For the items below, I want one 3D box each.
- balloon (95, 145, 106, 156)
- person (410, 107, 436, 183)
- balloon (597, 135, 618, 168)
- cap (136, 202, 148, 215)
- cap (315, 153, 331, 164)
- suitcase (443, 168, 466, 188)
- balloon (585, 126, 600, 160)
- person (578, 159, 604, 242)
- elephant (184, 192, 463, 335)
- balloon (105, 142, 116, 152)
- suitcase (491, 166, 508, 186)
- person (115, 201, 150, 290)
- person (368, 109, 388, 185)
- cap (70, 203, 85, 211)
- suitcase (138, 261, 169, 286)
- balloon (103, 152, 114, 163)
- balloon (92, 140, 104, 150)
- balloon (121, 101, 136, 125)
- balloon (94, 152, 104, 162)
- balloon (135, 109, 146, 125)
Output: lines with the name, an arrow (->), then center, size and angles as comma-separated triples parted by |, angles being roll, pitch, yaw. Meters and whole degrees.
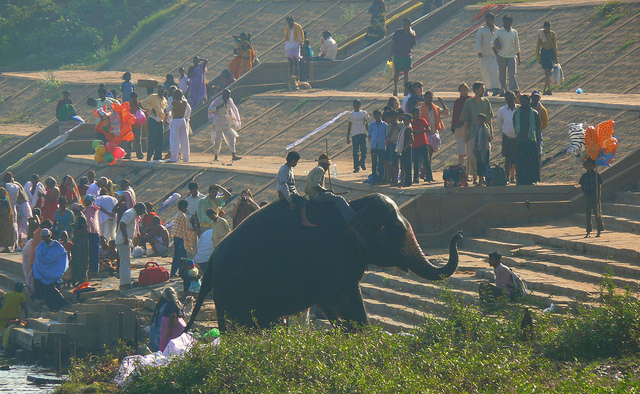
balloon -> -8.241, -1.799, 63.523 | 0.341, 0.330, 0.379 | 3, 34, -6
person -> 3.502, -1.748, 57.246 | 0.740, 2.566, 0.543 | -1, 11, 2
balloon -> 9.505, -1.527, 55.817 | 0.408, 0.958, 0.712 | 23, 15, 24
cap -> -6.071, 0.358, 57.402 | 0.325, 0.320, 0.335 | -35, 8, 29
cap -> 0.103, -1.229, 54.028 | 0.420, 0.162, 0.419 | 2, -4, -40
suitcase -> 4.598, -0.638, 56.779 | 0.712, 0.647, 0.520 | 5, -10, 1
balloon -> 9.060, -1.773, 55.664 | 0.493, 1.013, 0.243 | -6, 0, 43
person -> 9.053, 0.020, 55.355 | 0.692, 2.470, 1.000 | -5, 12, -18
elephant -> 0.122, 2.256, 54.925 | 8.315, 4.706, 3.784 | -11, 3, -4
balloon -> -7.827, -1.880, 63.411 | 0.373, 0.316, 0.322 | -20, -26, -11
suitcase -> 6.100, -0.702, 56.899 | 0.554, 0.770, 0.432 | -3, -16, -15
person -> -6.479, 1.669, 57.271 | 0.727, 2.851, 0.800 | 4, 13, 27
person -> 2.051, -1.712, 57.692 | 0.650, 2.436, 0.850 | -2, 11, -4
cap -> -8.326, 0.362, 58.194 | 0.406, 0.313, 0.593 | -2, 11, -5
suitcase -> -5.622, 2.627, 57.416 | 0.725, 0.514, 0.317 | -7, 11, -5
balloon -> -7.915, -1.508, 63.491 | 0.354, 0.346, 0.406 | -14, -4, 23
balloon -> -8.399, -1.973, 63.725 | 0.362, 0.195, 0.356 | -14, 6, -24
balloon -> -7.157, -3.142, 63.208 | 0.205, 0.756, 0.567 | -2, 0, 35
balloon -> -8.353, -1.525, 63.755 | 0.279, 0.323, 0.272 | -10, 31, 3
balloon -> -6.771, -3.010, 63.393 | 0.412, 0.410, 0.425 | -40, -13, 27
